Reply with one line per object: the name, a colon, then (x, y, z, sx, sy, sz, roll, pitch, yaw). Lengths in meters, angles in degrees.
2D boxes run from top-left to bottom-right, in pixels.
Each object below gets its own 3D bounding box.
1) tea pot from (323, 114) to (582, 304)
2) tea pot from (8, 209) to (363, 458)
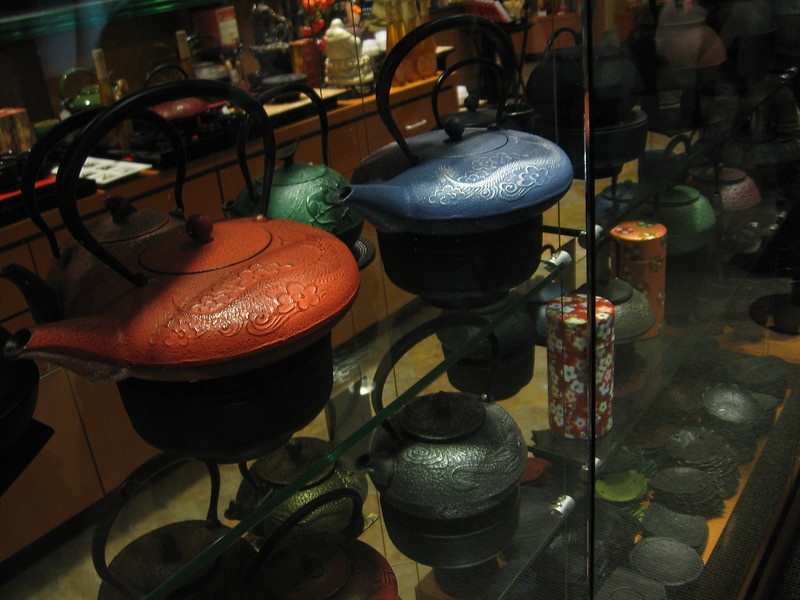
tea pot: (0.055, -0.075, 0.650, 0.174, 0.118, 0.162, -8, 31, 5)
tea pot: (-0.141, 0.004, 0.510, 0.175, 0.138, 0.199, 20, 33, 38)
